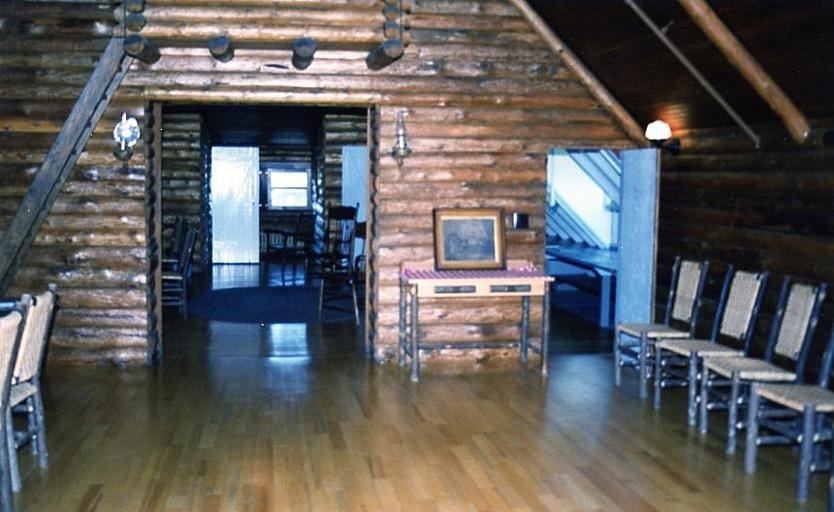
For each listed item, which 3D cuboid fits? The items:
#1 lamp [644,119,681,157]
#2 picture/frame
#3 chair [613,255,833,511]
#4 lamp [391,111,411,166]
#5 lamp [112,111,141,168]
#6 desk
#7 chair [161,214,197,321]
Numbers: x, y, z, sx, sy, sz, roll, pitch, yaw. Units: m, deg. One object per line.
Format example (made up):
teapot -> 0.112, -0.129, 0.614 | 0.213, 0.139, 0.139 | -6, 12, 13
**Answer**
lamp -> 2.978, -1.392, 8.300 | 0.446, 0.436, 0.466 | -1, 8, -11
picture/frame -> 0.620, -0.152, 8.105 | 0.870, 0.619, 0.082 | 0, -3, -3
chair -> 3.007, 1.261, 6.464 | 0.966, 1.408, 2.141 | -1, 5, -13
lamp -> -0.191, -1.359, 8.090 | 0.244, 0.661, 0.215 | 1, 9, 4
lamp -> -3.390, -1.294, 7.879 | 0.327, 0.604, 0.140 | -3, 10, -19
desk -> 0.650, 0.760, 7.925 | 1.778, 1.127, 0.702 | 1, 3, -17
chair -> -4.096, 0.291, 11.536 | 0.692, 0.927, 1.733 | 3, 14, -15
